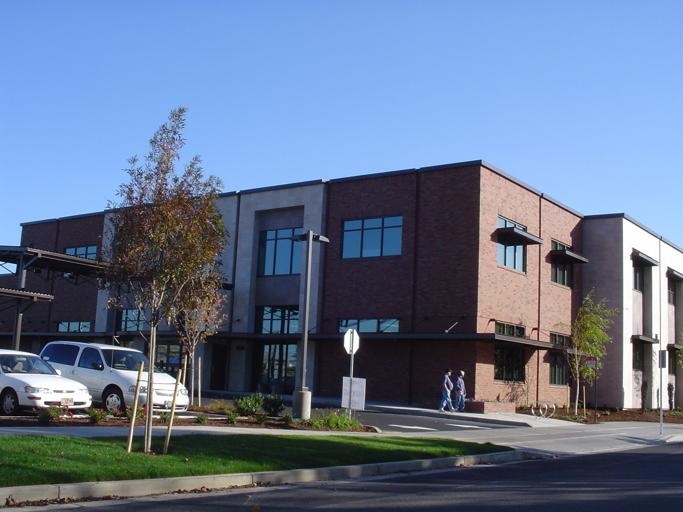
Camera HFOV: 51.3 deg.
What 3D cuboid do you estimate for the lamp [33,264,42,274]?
[{"bbox_3d":[-16.064,0.659,37.320,0.401,0.426,0.754,3,3,-10],"label":"lamp"}]
